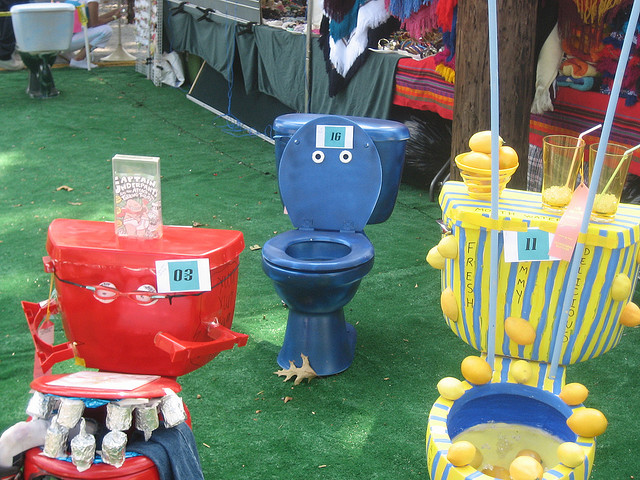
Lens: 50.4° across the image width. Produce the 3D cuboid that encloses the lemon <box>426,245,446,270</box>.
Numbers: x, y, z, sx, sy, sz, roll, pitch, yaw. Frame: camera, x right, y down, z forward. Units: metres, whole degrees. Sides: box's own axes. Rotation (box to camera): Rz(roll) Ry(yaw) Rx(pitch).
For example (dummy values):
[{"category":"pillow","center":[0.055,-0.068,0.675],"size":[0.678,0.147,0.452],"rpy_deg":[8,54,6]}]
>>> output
[{"category":"lemon","center":[0.450,0.066,2.669],"size":[0.079,0.084,0.064],"rpy_deg":[-10,15,-18]}]

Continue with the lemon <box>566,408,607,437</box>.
[{"category":"lemon","center":[0.916,0.627,2.355],"size":[0.111,0.090,0.084],"rpy_deg":[-1,-7,18]}]

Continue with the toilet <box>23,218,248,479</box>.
[{"category":"toilet","center":[-0.648,0.254,2.514],"size":[0.823,0.803,0.863],"rpy_deg":[9,18,7]}]

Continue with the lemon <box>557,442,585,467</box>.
[{"category":"lemon","center":[0.826,0.712,2.261],"size":[0.077,0.062,0.062],"rpy_deg":[28,32,26]}]

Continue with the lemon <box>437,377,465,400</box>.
[{"category":"lemon","center":[0.477,0.538,2.514],"size":[0.085,0.070,0.067],"rpy_deg":[8,8,33]}]

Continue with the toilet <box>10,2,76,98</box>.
[{"category":"toilet","center":[-3.209,-2.284,8.049],"size":[0.628,1.242,0.591],"rpy_deg":[-21,37,-36]}]

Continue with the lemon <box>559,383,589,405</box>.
[{"category":"lemon","center":[0.924,0.571,2.486],"size":[0.114,0.098,0.066],"rpy_deg":[-3,22,-10]}]

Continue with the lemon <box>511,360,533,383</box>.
[{"category":"lemon","center":[0.748,0.489,2.545],"size":[0.060,0.062,0.080],"rpy_deg":[1,8,6]}]

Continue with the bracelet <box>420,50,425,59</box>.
[{"category":"bracelet","center":[0.805,-1.472,5.366],"size":[0.034,0.046,0.111],"rpy_deg":[4,22,8]}]

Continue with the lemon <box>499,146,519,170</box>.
[{"category":"lemon","center":[0.709,-0.322,2.590],"size":[0.070,0.068,0.162],"rpy_deg":[7,23,14]}]

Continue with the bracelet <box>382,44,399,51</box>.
[{"category":"bracelet","center":[0.579,-1.579,5.542],"size":[0.072,0.037,0.175],"rpy_deg":[-12,25,-29]}]

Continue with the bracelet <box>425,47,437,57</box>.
[{"category":"bracelet","center":[0.862,-1.493,5.360],"size":[0.075,0.080,0.018],"rpy_deg":[6,-7,32]}]

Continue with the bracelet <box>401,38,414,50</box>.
[{"category":"bracelet","center":[0.706,-1.576,5.491],"size":[0.089,0.089,0.022],"rpy_deg":[-1,-6,40]}]

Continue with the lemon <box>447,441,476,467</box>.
[{"category":"lemon","center":[0.468,0.711,2.264],"size":[0.087,0.067,0.057],"rpy_deg":[-25,-2,-12]}]

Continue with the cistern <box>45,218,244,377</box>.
[{"category":"cistern","center":[-0.594,0.153,2.524],"size":[0.803,0.556,0.481],"rpy_deg":[7,20,7]}]

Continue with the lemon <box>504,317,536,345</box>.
[{"category":"lemon","center":[0.729,0.332,2.508],"size":[0.107,0.084,0.066],"rpy_deg":[39,16,7]}]

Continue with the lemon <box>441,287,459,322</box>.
[{"category":"lemon","center":[0.494,0.246,2.607],"size":[0.070,0.112,0.030],"rpy_deg":[-9,8,41]}]

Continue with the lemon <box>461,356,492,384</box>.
[{"category":"lemon","center":[0.579,0.486,2.583],"size":[0.108,0.085,0.084],"rpy_deg":[33,74,25]}]

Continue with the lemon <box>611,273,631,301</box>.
[{"category":"lemon","center":[1.058,0.169,2.417],"size":[0.069,0.107,0.028],"rpy_deg":[-4,22,-13]}]

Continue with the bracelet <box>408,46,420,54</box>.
[{"category":"bracelet","center":[0.744,-1.514,5.412],"size":[0.040,0.045,0.139],"rpy_deg":[-12,26,-30]}]

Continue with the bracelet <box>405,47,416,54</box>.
[{"category":"bracelet","center":[0.716,-1.512,5.438],"size":[0.061,0.019,0.026],"rpy_deg":[43,8,-2]}]

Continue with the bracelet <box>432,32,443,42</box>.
[{"category":"bracelet","center":[0.918,-1.604,5.378],"size":[0.063,0.068,0.026],"rpy_deg":[-4,22,-12]}]

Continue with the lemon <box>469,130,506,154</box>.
[{"category":"lemon","center":[0.635,-0.376,2.584],"size":[0.112,0.086,0.071],"rpy_deg":[3,10,10]}]

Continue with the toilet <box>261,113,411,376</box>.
[{"category":"toilet","center":[0.029,0.012,3.563],"size":[0.719,1.163,0.992],"rpy_deg":[3,17,12]}]

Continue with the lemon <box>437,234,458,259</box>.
[{"category":"lemon","center":[0.484,0.021,2.587],"size":[0.082,0.078,0.063],"rpy_deg":[-28,19,-34]}]
